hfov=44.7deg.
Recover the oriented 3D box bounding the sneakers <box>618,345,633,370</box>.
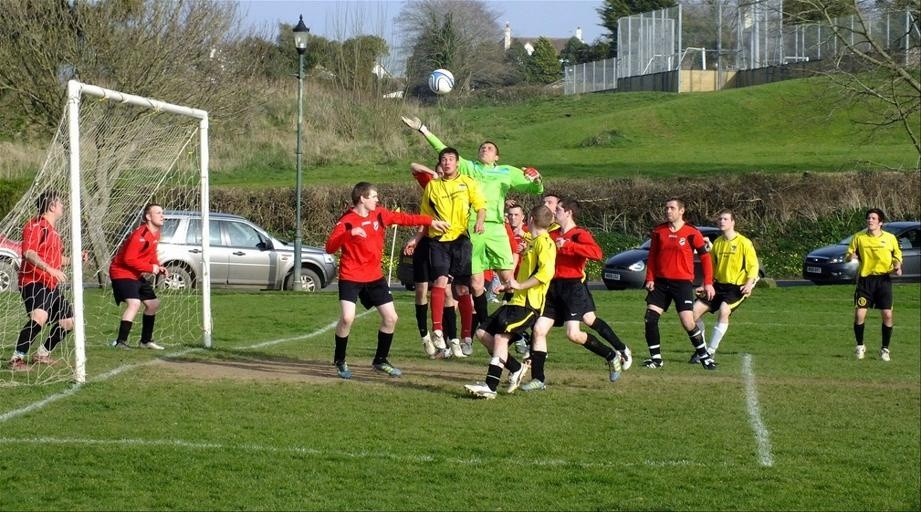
[{"bbox_3d":[3.547,2.264,24.529,0.227,0.580,0.275,-17,-26,40],"label":"sneakers"}]

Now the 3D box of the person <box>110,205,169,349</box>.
[{"bbox_3d":[-7.431,0.489,25.570,1.172,3.323,0.797,-1,-2,-16],"label":"person"}]

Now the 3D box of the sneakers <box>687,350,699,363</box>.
[{"bbox_3d":[5.338,2.343,25.796,0.262,0.172,0.224,-3,9,-6],"label":"sneakers"}]

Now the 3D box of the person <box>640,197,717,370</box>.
[{"bbox_3d":[4.945,0.650,25.733,1.606,3.881,1.014,-2,-2,11],"label":"person"}]

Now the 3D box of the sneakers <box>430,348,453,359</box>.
[{"bbox_3d":[-0.470,2.222,25.455,0.502,0.200,0.202,-5,4,8],"label":"sneakers"}]

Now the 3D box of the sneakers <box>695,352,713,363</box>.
[{"bbox_3d":[5.469,2.335,25.549,0.578,0.233,0.189,-2,4,26],"label":"sneakers"}]

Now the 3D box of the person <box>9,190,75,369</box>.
[{"bbox_3d":[-9.129,0.549,24.305,1.193,3.832,1.102,0,-2,-31],"label":"person"}]

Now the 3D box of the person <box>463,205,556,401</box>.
[{"bbox_3d":[1.144,0.976,23.558,1.675,4.029,0.708,-1,-2,6],"label":"person"}]

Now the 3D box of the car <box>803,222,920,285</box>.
[{"bbox_3d":[12.783,-0.095,36.828,4.954,1.751,2.075,-1,0,-13],"label":"car"}]

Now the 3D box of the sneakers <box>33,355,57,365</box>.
[{"bbox_3d":[-9.167,2.296,24.523,0.405,0.158,0.244,2,-4,-9],"label":"sneakers"}]

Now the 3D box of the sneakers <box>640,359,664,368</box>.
[{"bbox_3d":[4.334,2.460,25.420,0.407,0.141,0.205,0,3,2],"label":"sneakers"}]

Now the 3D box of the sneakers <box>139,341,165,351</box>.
[{"bbox_3d":[-7.154,2.070,25.789,0.633,0.218,0.211,3,6,-5],"label":"sneakers"}]

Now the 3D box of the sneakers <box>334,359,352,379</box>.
[{"bbox_3d":[-2.561,2.465,24.273,0.221,0.224,0.543,-8,8,-31],"label":"sneakers"}]

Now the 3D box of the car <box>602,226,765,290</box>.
[{"bbox_3d":[7.024,0.054,36.449,5.013,1.534,2.188,0,1,-15],"label":"car"}]

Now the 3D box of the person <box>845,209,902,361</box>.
[{"bbox_3d":[9.933,0.677,26.960,1.190,3.628,1.299,-2,-2,19],"label":"person"}]

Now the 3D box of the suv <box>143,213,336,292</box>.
[{"bbox_3d":[-7.336,-0.030,34.121,6.216,2.292,2.442,2,3,-32],"label":"suv"}]

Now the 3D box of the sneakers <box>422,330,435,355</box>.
[{"bbox_3d":[-0.834,1.995,25.514,0.248,0.562,0.280,-10,2,37],"label":"sneakers"}]
